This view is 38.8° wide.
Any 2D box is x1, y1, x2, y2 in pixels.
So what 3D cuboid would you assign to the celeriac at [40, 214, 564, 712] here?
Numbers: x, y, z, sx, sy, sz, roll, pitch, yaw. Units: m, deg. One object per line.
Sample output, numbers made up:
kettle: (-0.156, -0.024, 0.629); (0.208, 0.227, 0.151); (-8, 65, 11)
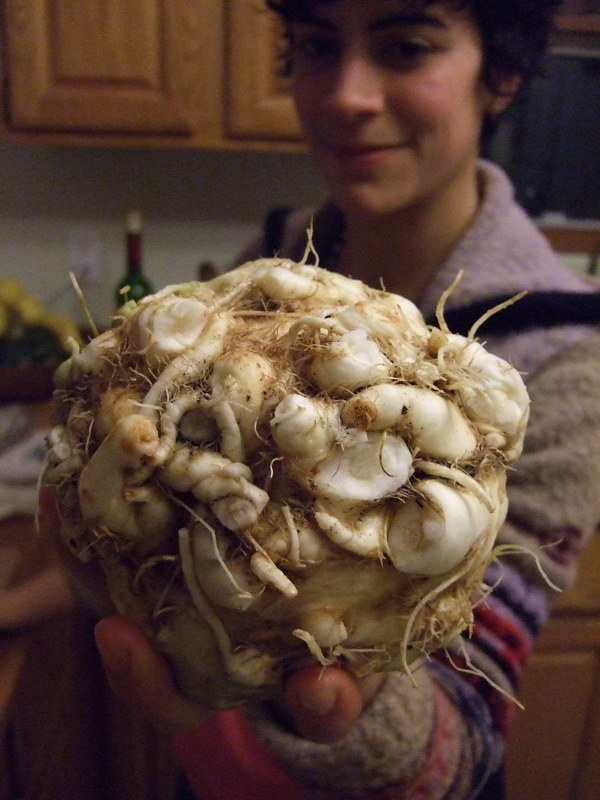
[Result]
celeriac: (0.010, 0.102, 0.953); (0.488, 0.372, 0.540); (-3, -21, 45)
